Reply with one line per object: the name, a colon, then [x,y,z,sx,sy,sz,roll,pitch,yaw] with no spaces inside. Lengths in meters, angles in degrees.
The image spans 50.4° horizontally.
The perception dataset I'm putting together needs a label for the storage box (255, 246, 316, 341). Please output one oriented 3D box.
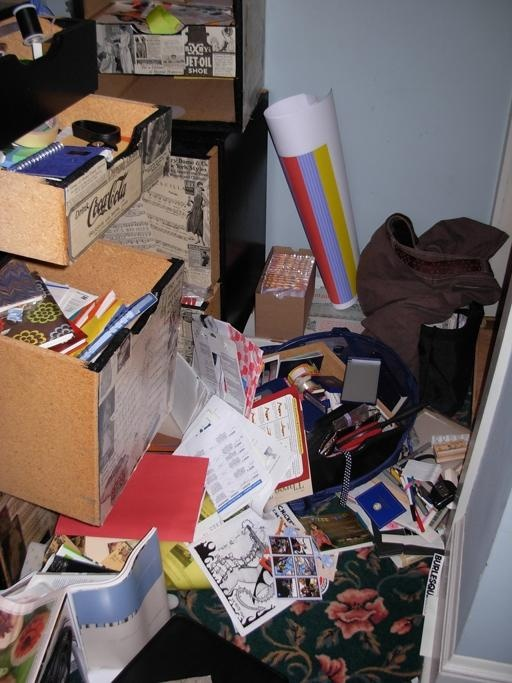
storage box: [0.157,-0.296,2.363,0.190,0.186,0.376,4,16,6]
